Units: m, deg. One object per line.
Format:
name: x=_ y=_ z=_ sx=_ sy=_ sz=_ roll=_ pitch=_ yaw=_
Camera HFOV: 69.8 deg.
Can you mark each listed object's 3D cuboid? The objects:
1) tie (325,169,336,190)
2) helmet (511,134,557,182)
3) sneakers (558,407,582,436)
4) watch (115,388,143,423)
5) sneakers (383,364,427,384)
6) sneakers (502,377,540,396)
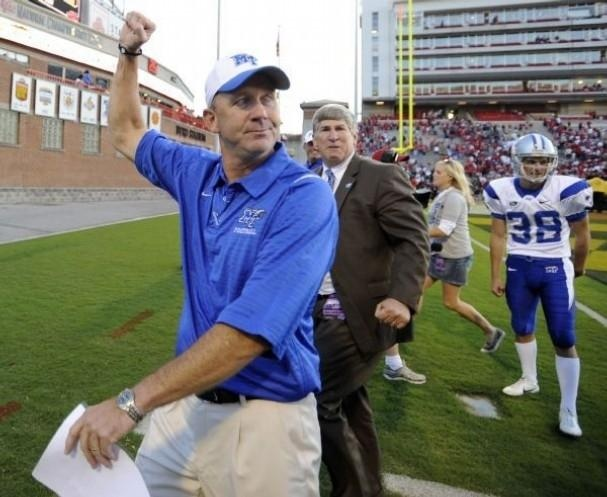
tie: x=0.193 y=-0.523 z=3.204 sx=0.042 sy=0.211 sz=0.060 roll=1 pitch=-33 yaw=-16
helmet: x=2.100 y=-0.829 z=3.951 sx=0.354 sy=0.400 sz=0.455 roll=0 pitch=13 yaw=9
sneakers: x=2.038 y=1.337 z=3.340 sx=0.098 sy=0.115 sz=0.258 roll=-3 pitch=-7 yaw=14
watch: x=-0.472 y=0.427 z=1.182 sx=0.039 sy=0.065 sz=0.060 roll=-38 pitch=-37 yaw=-6
sneakers: x=0.961 y=1.192 z=4.114 sx=0.335 sy=0.172 sz=0.162 roll=1 pitch=-1 yaw=6
sneakers: x=1.972 y=1.253 z=4.003 sx=0.371 sy=0.176 sz=0.139 roll=1 pitch=-4 yaw=-14
